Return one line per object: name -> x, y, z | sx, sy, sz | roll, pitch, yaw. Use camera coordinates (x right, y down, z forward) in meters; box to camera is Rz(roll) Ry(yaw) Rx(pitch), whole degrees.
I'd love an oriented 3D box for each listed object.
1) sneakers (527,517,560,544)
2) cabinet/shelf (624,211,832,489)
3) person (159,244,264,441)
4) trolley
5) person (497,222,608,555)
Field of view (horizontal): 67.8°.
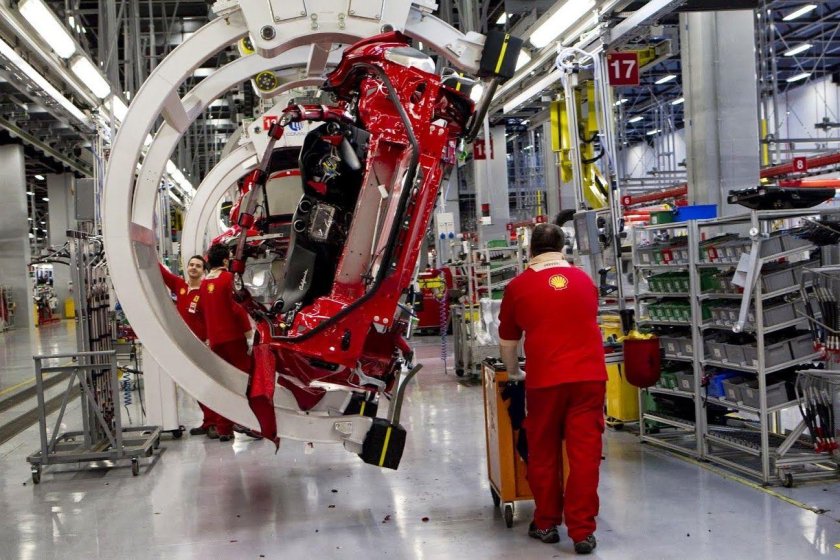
sneakers -> 1.000, 2.061, 5.130 | 0.117, 0.117, 0.255 | -1, 4, -7
cabinet/shelf -> 3.227, 0.560, 6.495 | 1.063, 2.530, 1.842 | -6, 6, -31
person -> -2.461, 0.791, 7.647 | 1.141, 2.487, 0.582 | 1, 7, 39
trolley -> 1.021, 1.433, 5.697 | 0.776, 1.304, 0.902 | -4, 3, -9
person -> 1.110, 0.830, 5.108 | 0.736, 2.568, 0.560 | 1, 7, 39
